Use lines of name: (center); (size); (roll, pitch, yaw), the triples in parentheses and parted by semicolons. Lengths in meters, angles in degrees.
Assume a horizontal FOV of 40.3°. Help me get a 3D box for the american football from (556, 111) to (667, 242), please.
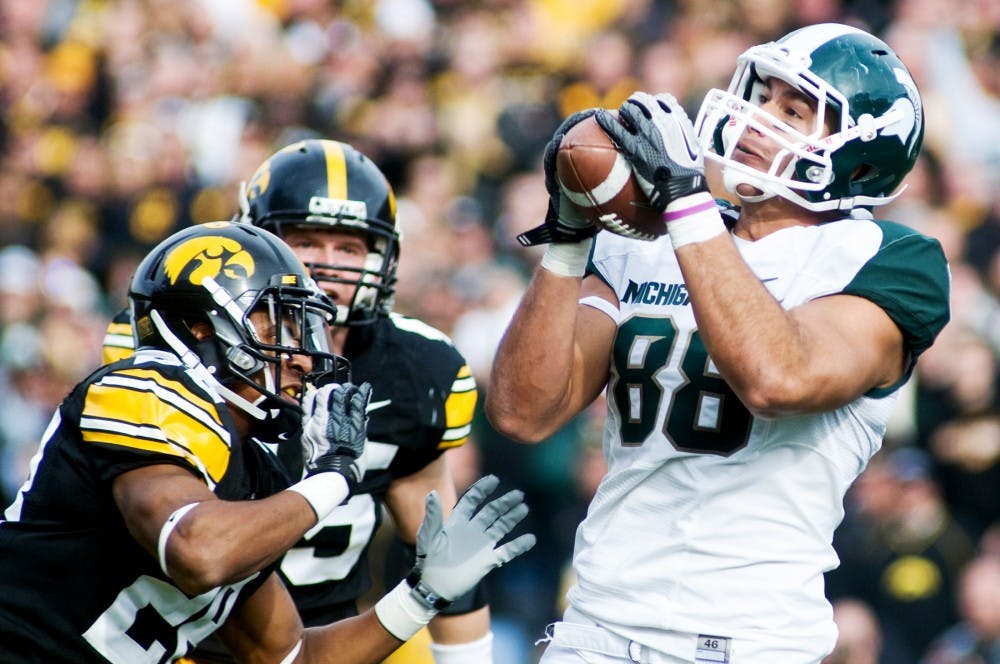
american football: (0.364, -0.536, 4.881); (0.283, 0.464, 0.314); (-37, 25, 3)

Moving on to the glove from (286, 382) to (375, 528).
glove: (-0.562, 0.442, 4.954); (0.190, 0.451, 0.357); (26, -23, -29)
